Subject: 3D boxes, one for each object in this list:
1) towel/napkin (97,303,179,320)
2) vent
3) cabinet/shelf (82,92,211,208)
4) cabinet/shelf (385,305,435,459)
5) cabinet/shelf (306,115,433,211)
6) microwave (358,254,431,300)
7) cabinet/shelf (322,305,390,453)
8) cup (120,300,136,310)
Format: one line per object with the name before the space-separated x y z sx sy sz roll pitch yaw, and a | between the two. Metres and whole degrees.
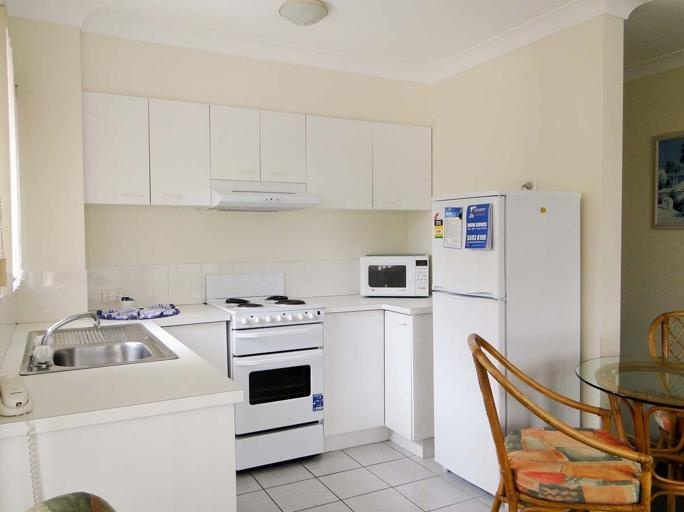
towel/napkin | -1.338 0.364 3.465 0.535 0.055 0.352 1 8 -9
vent | -0.554 -0.437 3.840 0.772 0.220 0.356 1 8 -14
cabinet/shelf | -1.316 -0.706 3.471 0.789 0.684 0.270 -1 3 -25
cabinet/shelf | 0.471 0.792 3.785 0.226 0.924 0.427 -1 8 -22
cabinet/shelf | 0.201 -0.703 4.137 1.227 0.787 0.612 0 1 -26
microwave | 0.407 0.164 4.159 0.556 0.368 0.327 -1 -3 30
cabinet/shelf | 0.088 0.824 3.808 0.474 0.852 0.133 -1 8 -22
cup | -1.418 0.318 3.495 0.094 0.070 0.083 1 -3 -11
